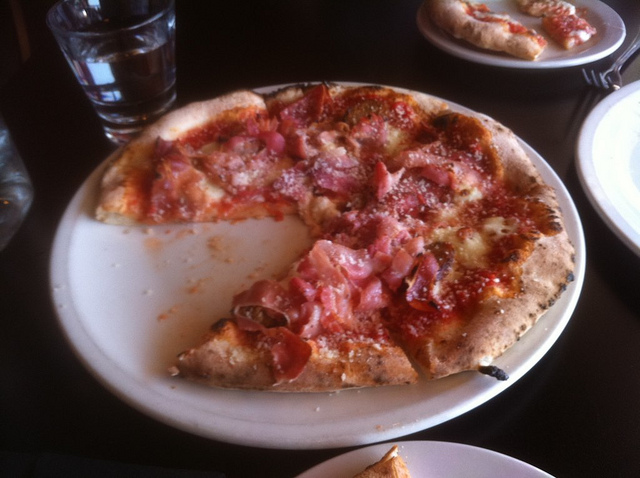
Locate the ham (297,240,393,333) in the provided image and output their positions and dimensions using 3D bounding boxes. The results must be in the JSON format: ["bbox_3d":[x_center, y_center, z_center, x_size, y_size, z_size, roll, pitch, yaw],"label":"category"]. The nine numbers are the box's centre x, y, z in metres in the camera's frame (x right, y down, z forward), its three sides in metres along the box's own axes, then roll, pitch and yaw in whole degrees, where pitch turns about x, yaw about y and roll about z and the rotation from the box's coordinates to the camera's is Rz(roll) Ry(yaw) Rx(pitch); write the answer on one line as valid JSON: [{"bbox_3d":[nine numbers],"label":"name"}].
[{"bbox_3d":[0.082,0.121,1.986,0.318,0.096,0.301,33,50,26],"label":"ham"}]

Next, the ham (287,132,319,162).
[{"bbox_3d":[-0.074,-0.364,2.417,0.120,0.044,0.114,37,62,3],"label":"ham"}]

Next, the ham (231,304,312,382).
[{"bbox_3d":[-0.152,0.341,1.919,0.170,0.069,0.293,-20,55,-37],"label":"ham"}]

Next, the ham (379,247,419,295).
[{"bbox_3d":[0.267,0.095,1.980,0.113,0.039,0.143,42,90,12],"label":"ham"}]

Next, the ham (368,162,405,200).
[{"bbox_3d":[0.256,-0.199,2.227,0.131,0.143,0.037,-20,47,7],"label":"ham"}]

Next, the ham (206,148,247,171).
[{"bbox_3d":[-0.357,-0.305,2.335,0.114,0.028,0.133,-34,66,-20],"label":"ham"}]

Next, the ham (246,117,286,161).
[{"bbox_3d":[-0.219,-0.422,2.416,0.127,0.048,0.221,-16,61,-11],"label":"ham"}]

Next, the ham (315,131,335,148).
[{"bbox_3d":[0.019,-0.406,2.445,0.073,0.019,0.062,1,63,-2],"label":"ham"}]

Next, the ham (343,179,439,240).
[{"bbox_3d":[0.262,-0.122,2.269,0.374,0.523,0.068,0,80,3],"label":"ham"}]

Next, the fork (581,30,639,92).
[{"bbox_3d":[1.366,-0.849,2.836,0.077,0.086,0.619,45,61,13],"label":"fork"}]

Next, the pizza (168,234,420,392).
[{"bbox_3d":[-0.069,0.242,1.926,0.748,0.123,0.507,1,60,-1],"label":"pizza"}]
